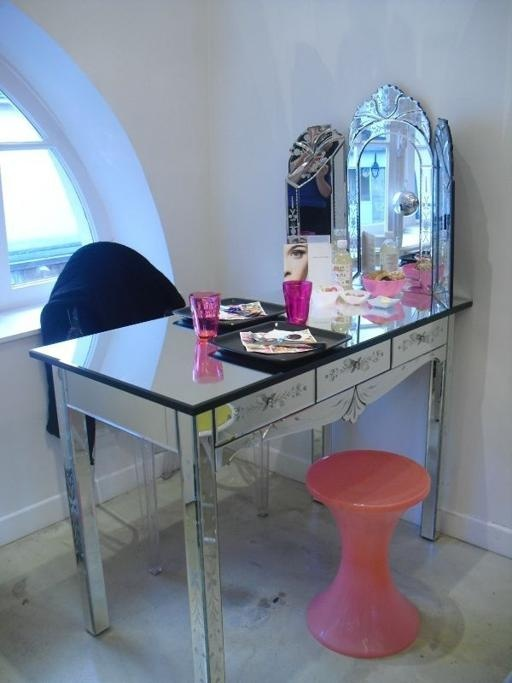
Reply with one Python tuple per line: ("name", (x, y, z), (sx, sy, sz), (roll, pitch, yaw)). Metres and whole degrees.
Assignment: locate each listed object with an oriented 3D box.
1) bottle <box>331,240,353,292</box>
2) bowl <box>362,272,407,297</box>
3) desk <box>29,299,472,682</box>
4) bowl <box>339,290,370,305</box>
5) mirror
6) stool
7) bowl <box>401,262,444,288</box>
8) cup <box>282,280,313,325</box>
("bottle", (0.268, -0.238, 1.767), (0.057, 0.151, 0.054), (-2, 12, 0))
("bowl", (0.418, -0.179, 1.768), (0.152, 0.079, 0.136), (-4, 12, -13))
("desk", (-0.029, 0.374, 1.476), (0.822, 0.810, 0.642), (-12, 15, -42))
("bowl", (0.293, -0.136, 1.694), (0.063, 0.022, 0.057), (0, 11, 0))
("mirror", (0.464, -0.489, 1.769), (0.137, 0.602, 0.436), (-28, 36, -30))
("stool", (0.281, 0.540, 1.479), (0.308, 0.373, 0.303), (3, 7, 33))
("bowl", (0.530, -0.213, 1.786), (0.098, 0.056, 0.098), (-2, 14, 1))
("cup", (0.107, -0.103, 1.485), (0.078, 0.108, 0.079), (1, 11, 0))
